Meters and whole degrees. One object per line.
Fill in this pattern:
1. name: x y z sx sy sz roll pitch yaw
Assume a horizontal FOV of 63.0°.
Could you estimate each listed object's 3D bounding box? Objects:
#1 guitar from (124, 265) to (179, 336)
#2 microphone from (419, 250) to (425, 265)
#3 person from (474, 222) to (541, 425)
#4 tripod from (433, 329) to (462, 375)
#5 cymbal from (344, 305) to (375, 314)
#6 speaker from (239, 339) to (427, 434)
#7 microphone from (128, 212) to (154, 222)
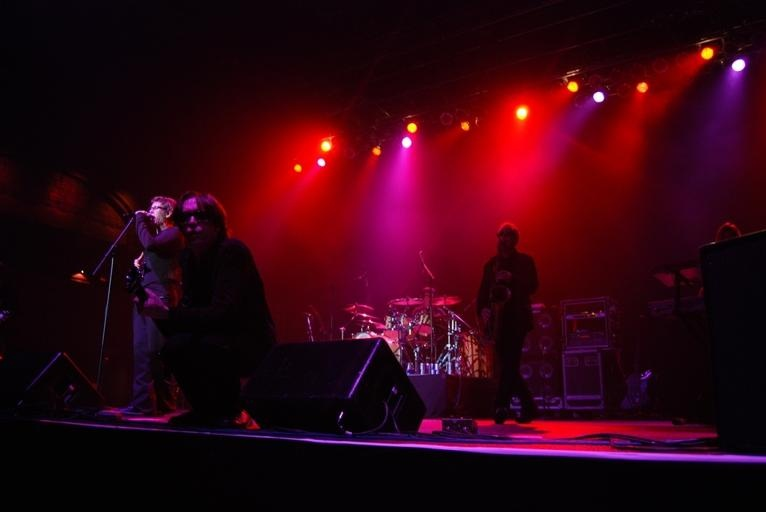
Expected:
1. guitar: -1.918 0.293 5.221 0.354 0.774 0.169 -8 7 45
2. microphone: 0.728 0.026 11.712 0.053 0.209 0.191 -12 5 -24
3. person: 1.443 0.757 7.122 0.704 2.110 0.993 -4 13 8
4. tripod: 0.906 1.492 9.448 0.494 0.831 0.448 -2 -8 19
5. cymbal: -0.416 0.881 10.496 0.285 0.081 0.284 6 0 40
6. speaker: -0.334 0.865 5.258 1.059 0.639 0.941 -9 -1 33
7. microphone: -2.638 -0.432 6.765 0.139 0.042 0.151 -2 -7 35
